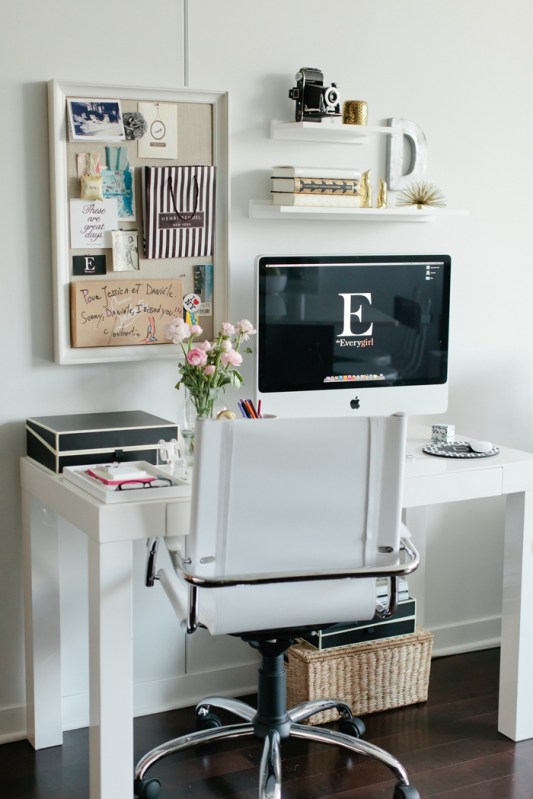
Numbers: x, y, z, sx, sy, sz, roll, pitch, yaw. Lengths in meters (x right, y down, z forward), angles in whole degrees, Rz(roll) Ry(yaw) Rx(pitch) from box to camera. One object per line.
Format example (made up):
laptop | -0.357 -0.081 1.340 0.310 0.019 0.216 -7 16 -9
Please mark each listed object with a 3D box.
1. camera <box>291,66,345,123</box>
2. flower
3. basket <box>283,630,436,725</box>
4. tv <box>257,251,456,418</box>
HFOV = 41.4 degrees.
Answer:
camera | 0.157 -0.874 2.025 0.132 0.143 0.130 10 23 20
flower | -0.182 -0.091 1.926 0.244 0.353 0.252 0 2 -18
basket | 0.276 0.785 2.179 0.485 0.245 0.290 -1 15 -15
tv | 0.271 -0.175 2.022 0.665 0.463 0.079 -5 12 -27
